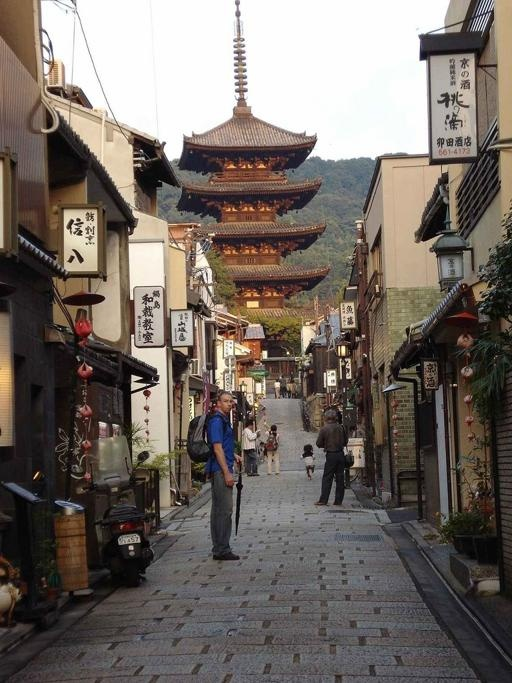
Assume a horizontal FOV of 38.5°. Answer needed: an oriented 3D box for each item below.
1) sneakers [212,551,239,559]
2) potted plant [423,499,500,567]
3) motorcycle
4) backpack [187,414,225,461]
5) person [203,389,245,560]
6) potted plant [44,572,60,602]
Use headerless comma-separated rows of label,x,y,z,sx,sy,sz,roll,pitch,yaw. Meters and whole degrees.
sneakers,-0.340,2.386,8.033,0.277,0.132,0.101,-3,0,11
potted plant,2.198,1.930,7.390,0.504,0.609,0.498,2,-7,-17
motorcycle,-1.408,1.802,7.461,0.619,1.222,1.738,-5,-2,-17
backpack,-0.603,1.120,8.287,0.282,0.576,0.399,-1,-10,-2
person,-0.383,1.538,8.430,0.349,1.879,1.404,-3,-9,-5
potted plant,-1.680,2.052,6.069,0.180,0.154,0.190,-1,-13,-9
